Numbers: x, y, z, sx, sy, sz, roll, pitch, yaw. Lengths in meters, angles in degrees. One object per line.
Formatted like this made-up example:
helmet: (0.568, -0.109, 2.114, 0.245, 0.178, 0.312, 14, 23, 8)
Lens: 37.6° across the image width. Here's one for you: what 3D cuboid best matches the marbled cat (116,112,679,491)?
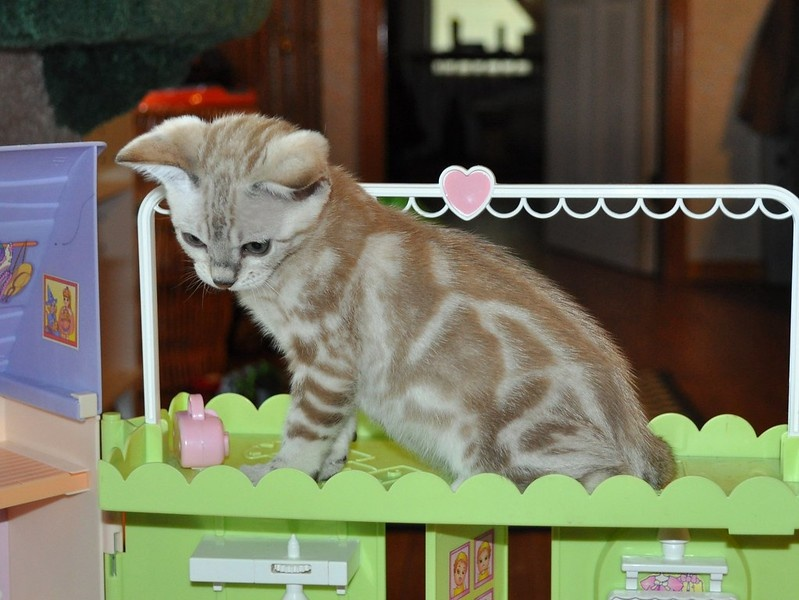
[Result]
marbled cat: (0.057, 0.036, 2.043, 0.856, 0.618, 0.347, 1, 9, -4)
